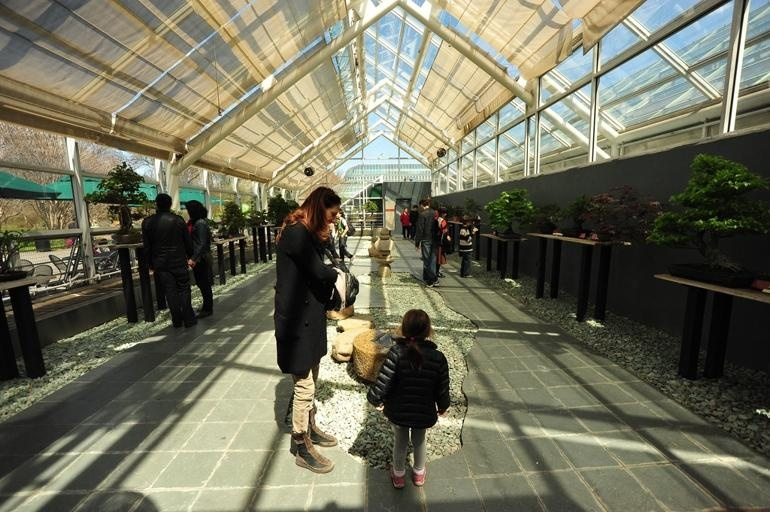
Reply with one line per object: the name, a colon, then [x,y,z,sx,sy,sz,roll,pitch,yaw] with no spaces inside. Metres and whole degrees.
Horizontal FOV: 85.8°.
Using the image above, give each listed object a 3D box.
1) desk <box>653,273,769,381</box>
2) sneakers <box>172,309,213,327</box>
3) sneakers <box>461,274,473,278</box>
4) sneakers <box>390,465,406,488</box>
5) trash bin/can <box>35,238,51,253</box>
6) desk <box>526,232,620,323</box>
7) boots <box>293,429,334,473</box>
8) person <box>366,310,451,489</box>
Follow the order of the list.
desk: [4.808,0.996,6.083,1.607,1.334,1.550,4,2,-35]
sneakers: [-3.646,1.199,7.829,0.182,0.197,0.542,5,23,17]
sneakers: [2.259,0.573,11.385,0.290,0.086,0.108,-3,-38,0]
sneakers: [0.141,2.475,4.662,0.112,0.108,0.277,1,-2,-2]
trash bin/can: [-6.990,-0.197,8.330,0.243,0.382,0.226,9,10,9]
desk: [3.808,0.469,8.202,0.958,1.080,1.690,-4,10,-15]
boots: [-0.856,2.251,4.841,0.593,0.376,0.259,-2,4,35]
person: [0.265,1.577,4.636,0.881,1.979,0.303,1,6,5]
